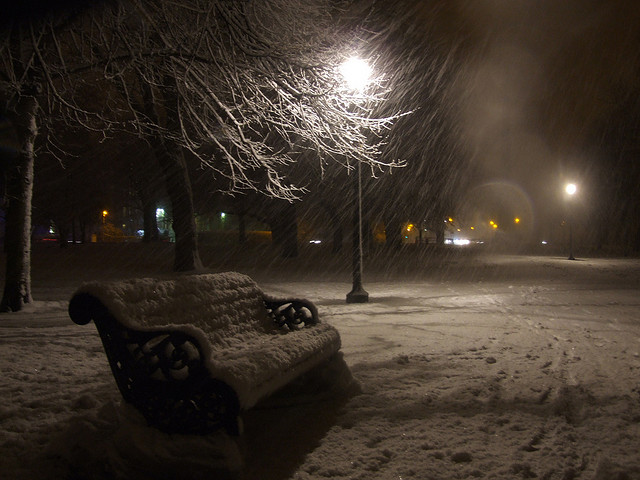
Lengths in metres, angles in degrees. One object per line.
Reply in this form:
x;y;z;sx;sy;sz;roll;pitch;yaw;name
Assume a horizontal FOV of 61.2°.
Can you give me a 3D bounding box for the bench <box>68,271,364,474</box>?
-1.127;1.574;6.459;2.156;2.235;3.206;3;5;16;bench
